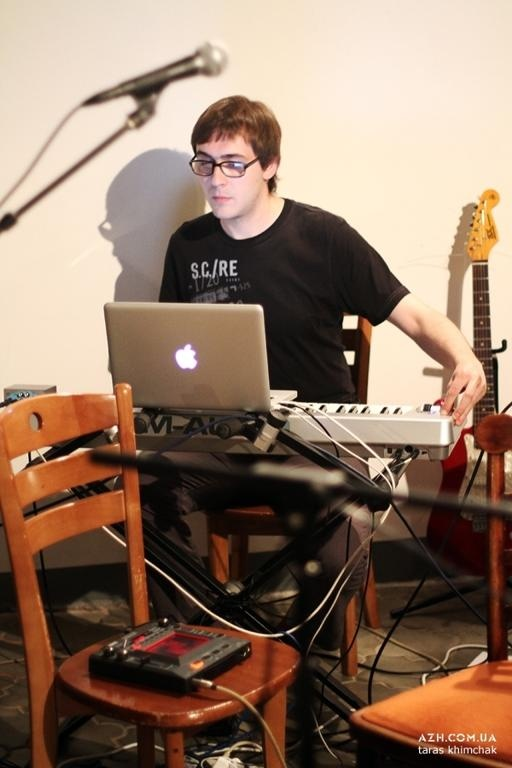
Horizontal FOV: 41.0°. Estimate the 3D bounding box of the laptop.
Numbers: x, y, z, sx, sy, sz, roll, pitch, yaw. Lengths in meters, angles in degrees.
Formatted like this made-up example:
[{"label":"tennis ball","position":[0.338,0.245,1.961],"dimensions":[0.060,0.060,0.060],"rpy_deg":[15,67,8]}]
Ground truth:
[{"label":"laptop","position":[-0.127,-0.061,1.412],"dimensions":[0.352,0.222,0.241],"rpy_deg":[2,11,21]}]
